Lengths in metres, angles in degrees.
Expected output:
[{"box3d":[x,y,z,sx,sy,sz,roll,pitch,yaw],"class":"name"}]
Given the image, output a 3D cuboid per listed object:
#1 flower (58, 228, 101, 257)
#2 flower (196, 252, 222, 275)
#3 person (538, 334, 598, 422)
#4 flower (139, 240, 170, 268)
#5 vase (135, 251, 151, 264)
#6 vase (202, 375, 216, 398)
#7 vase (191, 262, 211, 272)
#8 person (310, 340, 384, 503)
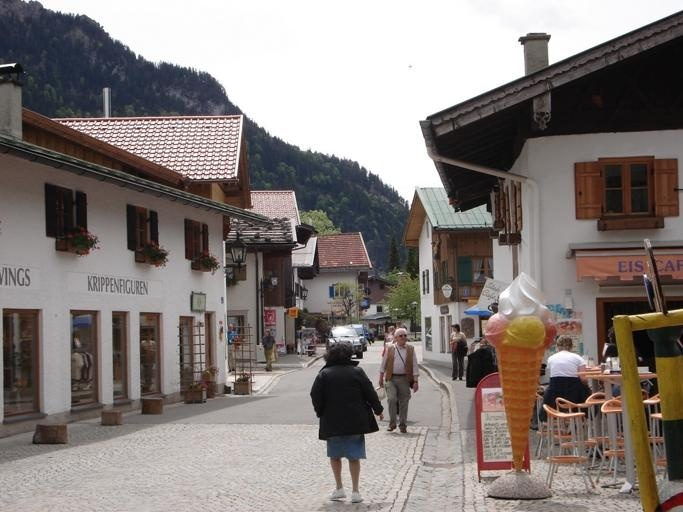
[{"box3d":[-6.235,-0.299,20.062,0.541,0.597,0.769,-1,-2,27],"class":"flower"},{"box3d":[-4.158,0.250,26.501,0.468,0.566,0.747,1,0,16],"class":"flower"},{"box3d":[3.694,2.063,13.968,0.823,1.471,0.749,-3,-8,38],"class":"person"},{"box3d":[-5.105,-0.025,23.313,0.279,0.615,0.803,0,-2,23],"class":"flower"},{"box3d":[-5.398,0.050,23.153,0.180,0.280,0.494,-7,-7,31],"class":"vase"},{"box3d":[-4.022,4.066,26.208,0.481,0.676,0.623,3,-10,-19],"class":"vase"},{"box3d":[-4.348,0.327,26.344,0.199,0.273,0.753,-7,-8,33],"class":"vase"},{"box3d":[0.072,2.362,12.168,0.942,2.240,0.533,-3,-6,-4],"class":"person"}]
